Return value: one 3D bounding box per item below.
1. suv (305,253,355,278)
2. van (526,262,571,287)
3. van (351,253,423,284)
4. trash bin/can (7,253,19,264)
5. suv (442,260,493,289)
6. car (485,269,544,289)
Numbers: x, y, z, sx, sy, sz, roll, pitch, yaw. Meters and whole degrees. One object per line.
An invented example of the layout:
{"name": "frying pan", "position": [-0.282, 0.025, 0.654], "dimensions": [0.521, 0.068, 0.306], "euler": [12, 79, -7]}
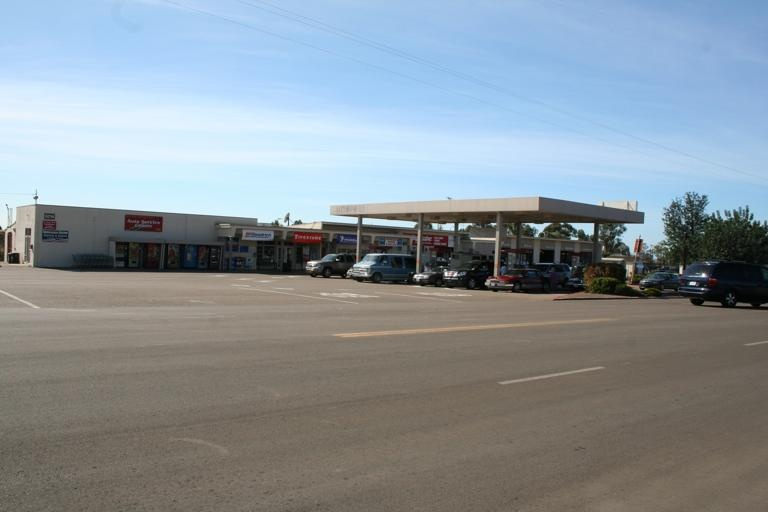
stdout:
{"name": "suv", "position": [-4.303, 0.814, 49.412], "dimensions": [3.207, 1.424, 1.876], "euler": [3, -4, -35]}
{"name": "van", "position": [11.615, 1.339, 42.226], "dimensions": [1.603, 1.204, 3.053], "euler": [-4, -6, 44]}
{"name": "van", "position": [-0.094, 0.939, 44.611], "dimensions": [3.739, 1.561, 2.289], "euler": [4, -5, -35]}
{"name": "trash bin/can", "position": [-32.047, 0.247, 53.367], "dimensions": [0.867, 0.851, 0.470], "euler": [2, 3, 30]}
{"name": "suv", "position": [5.689, 1.285, 41.084], "dimensions": [3.047, 1.465, 1.601], "euler": [4, -6, -38]}
{"name": "car", "position": [8.467, 1.593, 38.536], "dimensions": [1.426, 0.947, 3.242], "euler": [-6, -8, 44]}
